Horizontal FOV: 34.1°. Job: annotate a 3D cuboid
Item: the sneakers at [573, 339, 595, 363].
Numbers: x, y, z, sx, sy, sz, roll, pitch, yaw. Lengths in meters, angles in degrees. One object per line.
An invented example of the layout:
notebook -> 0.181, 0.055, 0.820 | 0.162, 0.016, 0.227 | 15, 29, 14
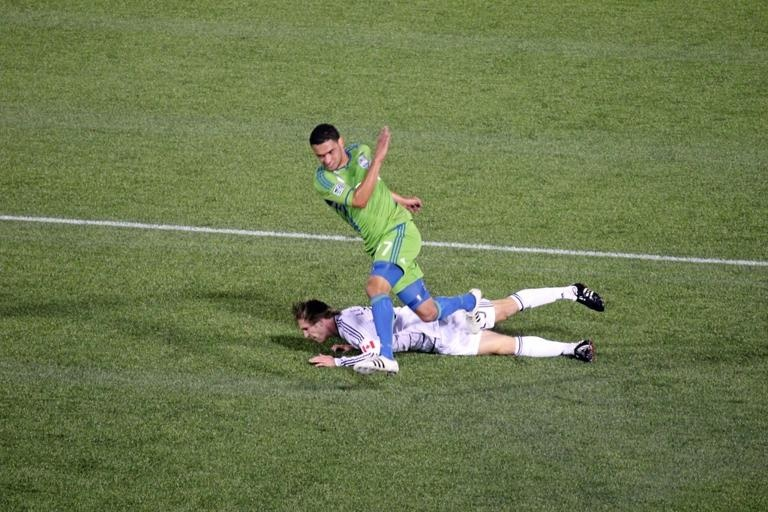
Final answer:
sneakers -> 2.740, 1.266, 17.129 | 0.298, 0.233, 0.301 | -4, 96, -23

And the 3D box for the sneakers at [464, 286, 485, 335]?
sneakers -> 1.258, 0.732, 17.050 | 0.195, 0.258, 0.606 | 2, 101, 25

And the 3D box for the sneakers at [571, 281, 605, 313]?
sneakers -> 2.881, 0.577, 17.579 | 0.490, 0.271, 0.203 | 42, 88, 0

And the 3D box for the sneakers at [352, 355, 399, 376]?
sneakers -> -0.100, 1.456, 16.669 | 0.578, 0.243, 0.272 | 4, 78, -8
